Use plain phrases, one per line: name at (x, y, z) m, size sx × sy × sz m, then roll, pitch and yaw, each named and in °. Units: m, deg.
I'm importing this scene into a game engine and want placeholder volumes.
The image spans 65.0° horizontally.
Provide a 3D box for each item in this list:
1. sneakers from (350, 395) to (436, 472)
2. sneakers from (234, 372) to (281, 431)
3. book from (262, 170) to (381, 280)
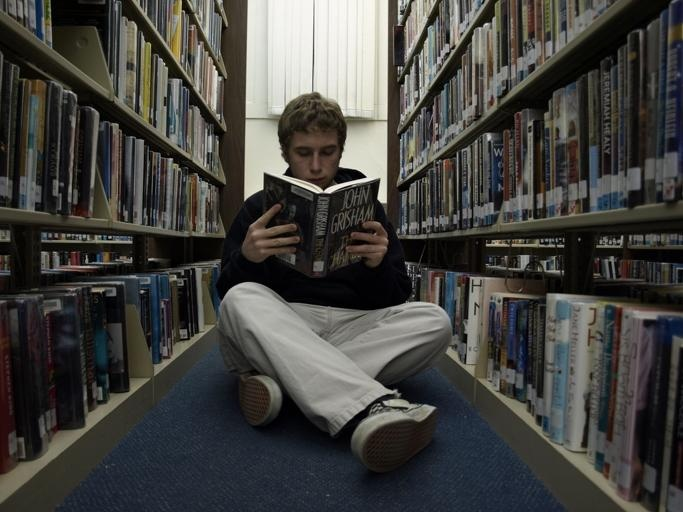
sneakers at (0.149, 0.458, 1.457) m, size 0.252 × 0.142 × 0.123 m, roll -5°, pitch 27°, yaw -28°
sneakers at (-0.254, 0.440, 1.659) m, size 0.137 × 0.162 × 0.051 m, roll 18°, pitch 20°, yaw 31°
book at (-0.056, -0.092, 1.619) m, size 0.346 × 0.309 × 0.245 m, roll -1°, pitch 6°, yaw -11°
